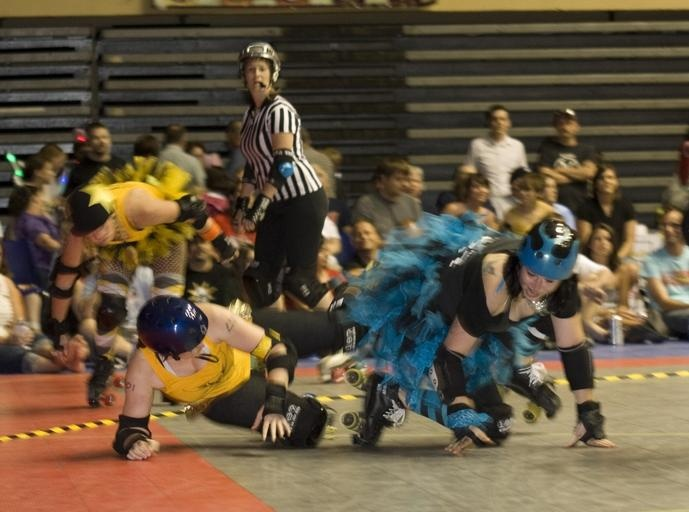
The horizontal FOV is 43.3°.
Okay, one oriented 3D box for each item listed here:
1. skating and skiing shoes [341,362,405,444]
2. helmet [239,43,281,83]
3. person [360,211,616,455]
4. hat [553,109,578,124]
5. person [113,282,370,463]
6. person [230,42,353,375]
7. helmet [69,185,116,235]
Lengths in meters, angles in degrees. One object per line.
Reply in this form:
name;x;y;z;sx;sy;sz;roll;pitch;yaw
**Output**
skating and skiing shoes;0.146;0.763;4.432;0.263;0.433;0.189;26;-14;-6
helmet;-0.552;-1.249;5.541;0.245;0.285;0.370;-2;5;-7
person;0.632;0.373;4.237;1.225;1.132;0.659;1;6;17
hat;2.024;-1.293;8.134;0.225;0.112;0.297;1;10;10
person;-0.505;0.554;4.385;0.822;0.820;1.221;1;5;26
person;-0.346;-0.326;5.637;0.797;1.998;0.589;-2;8;-18
helmet;-1.357;-0.234;4.635;0.324;0.154;0.230;-4;-1;-12
